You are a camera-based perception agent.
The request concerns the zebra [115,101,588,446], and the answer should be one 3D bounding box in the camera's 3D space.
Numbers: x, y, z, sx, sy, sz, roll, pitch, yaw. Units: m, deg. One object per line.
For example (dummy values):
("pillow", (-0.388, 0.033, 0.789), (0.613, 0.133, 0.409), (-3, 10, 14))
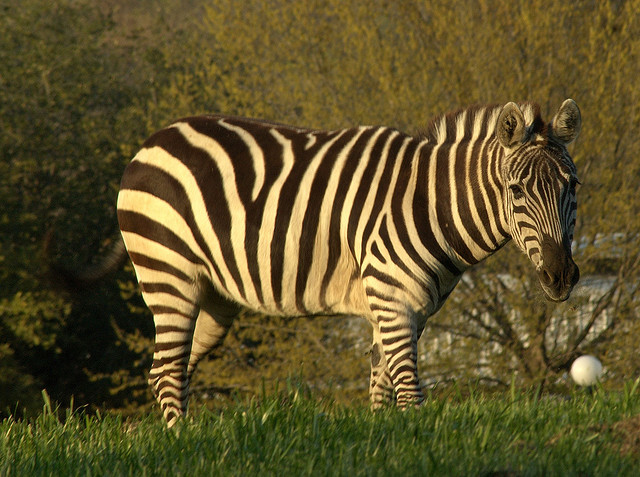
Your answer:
("zebra", (0.173, 0.214, 12.384), (3.956, 2.925, 1.274), (-2, 6, -3))
